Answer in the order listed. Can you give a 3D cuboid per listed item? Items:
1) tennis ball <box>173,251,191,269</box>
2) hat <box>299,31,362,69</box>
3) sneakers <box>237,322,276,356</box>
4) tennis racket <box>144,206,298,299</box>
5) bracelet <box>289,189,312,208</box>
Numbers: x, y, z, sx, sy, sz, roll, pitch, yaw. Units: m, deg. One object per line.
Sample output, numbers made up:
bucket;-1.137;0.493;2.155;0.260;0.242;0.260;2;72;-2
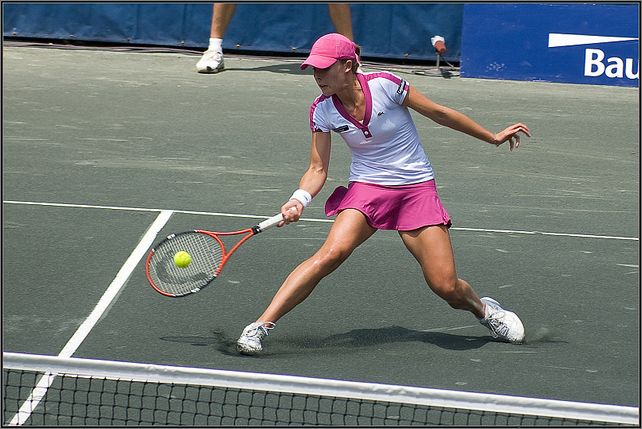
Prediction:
tennis ball;-0.989;0.316;4.997;0.130;0.104;0.121;-16;-14;-4
hat;0.065;-1.133;4.922;0.413;0.171;0.245;-5;5;-27
sneakers;-0.452;0.853;4.907;0.152;0.329;0.144;30;-20;10
tennis racket;-0.664;0.201;5.474;0.129;0.446;1.744;-8;12;36
bracelet;-0.144;-0.125;5.131;0.136;0.101;0.138;31;-8;17
